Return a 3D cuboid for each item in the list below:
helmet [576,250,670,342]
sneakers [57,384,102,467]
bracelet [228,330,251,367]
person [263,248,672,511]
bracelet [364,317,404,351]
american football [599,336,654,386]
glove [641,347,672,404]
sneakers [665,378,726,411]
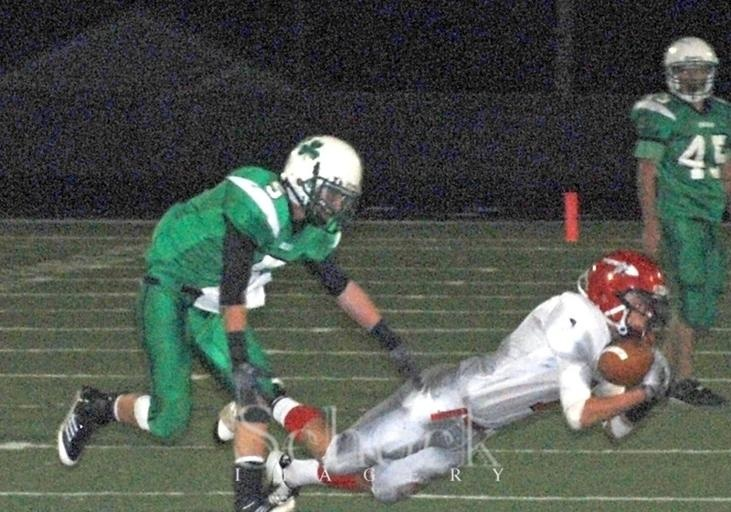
[{"bbox_3d":[1.714,0.220,8.719,0.647,0.494,0.465,19,14,21],"label":"helmet"},{"bbox_3d":[-1.906,1.120,9.253,0.289,0.595,0.214,-9,-36,21],"label":"sneakers"},{"bbox_3d":[-0.822,0.587,8.634,0.132,0.232,0.047,-2,14,-5],"label":"bracelet"},{"bbox_3d":[0.794,0.831,8.990,2.626,0.954,1.184,-22,22,11],"label":"person"},{"bbox_3d":[0.125,0.527,8.924,0.147,0.244,0.115,-43,-9,-5],"label":"bracelet"},{"bbox_3d":[1.645,0.674,8.586,0.372,0.262,0.261,6,38,-37],"label":"american football"},{"bbox_3d":[1.850,0.770,8.615,0.249,0.282,0.199,-3,10,-4],"label":"glove"},{"bbox_3d":[2.307,0.983,9.569,0.407,0.146,0.291,11,12,23],"label":"sneakers"}]
